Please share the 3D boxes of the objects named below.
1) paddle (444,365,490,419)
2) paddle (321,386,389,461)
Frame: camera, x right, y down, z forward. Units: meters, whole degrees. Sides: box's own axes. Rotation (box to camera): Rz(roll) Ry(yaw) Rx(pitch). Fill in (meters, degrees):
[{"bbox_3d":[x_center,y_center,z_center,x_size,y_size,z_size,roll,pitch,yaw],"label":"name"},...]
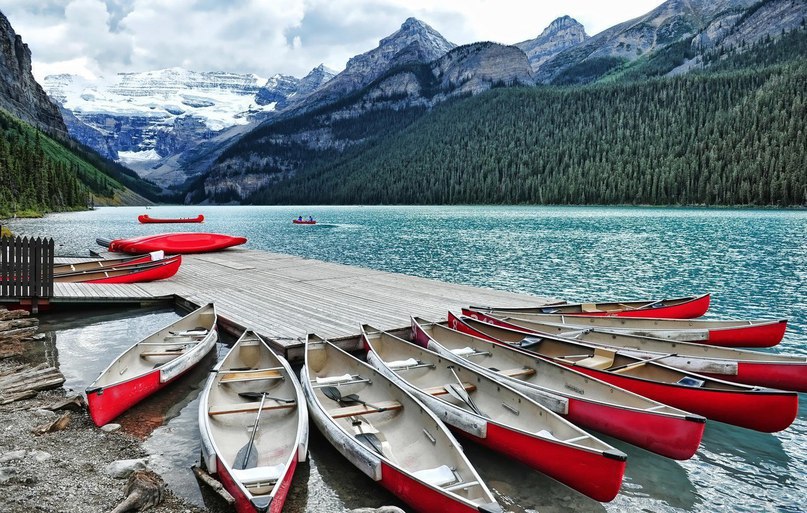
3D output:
[{"bbox_3d":[1.514,3.629,15.471,0.491,0.207,1.616,-15,25,-17],"label":"paddle"},{"bbox_3d":[-1.209,4.188,14.379,1.120,0.111,2.120,-4,23,-20],"label":"paddle"}]
